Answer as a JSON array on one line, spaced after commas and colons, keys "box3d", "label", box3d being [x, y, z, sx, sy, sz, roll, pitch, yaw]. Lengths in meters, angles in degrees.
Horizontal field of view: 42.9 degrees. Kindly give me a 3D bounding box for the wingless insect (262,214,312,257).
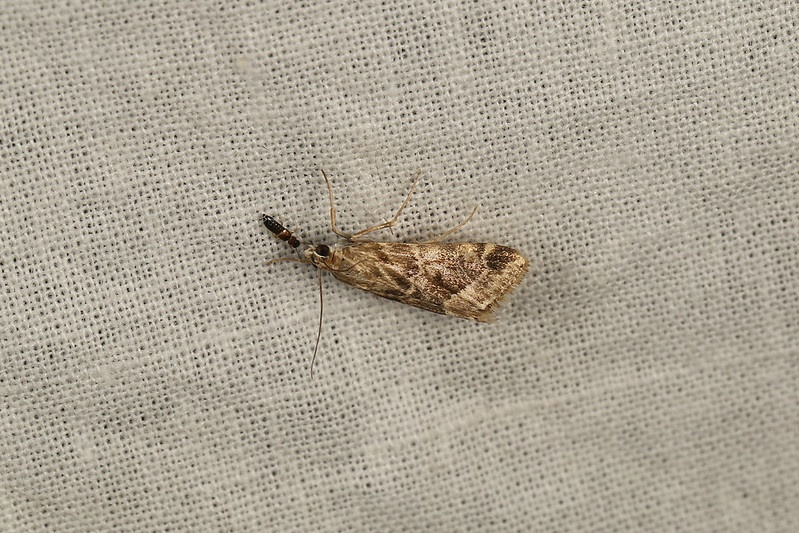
[{"box3d": [-0.563, -0.153, 4.973, 0.268, 0.081, 0.139, 43, 70, -3], "label": "wingless insect"}]
